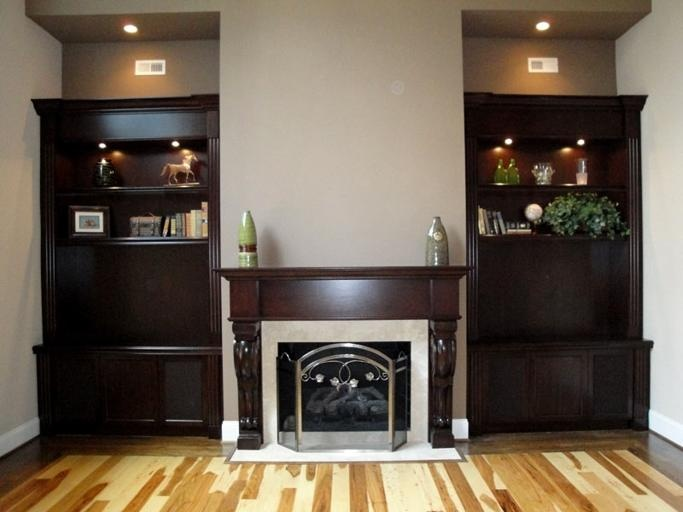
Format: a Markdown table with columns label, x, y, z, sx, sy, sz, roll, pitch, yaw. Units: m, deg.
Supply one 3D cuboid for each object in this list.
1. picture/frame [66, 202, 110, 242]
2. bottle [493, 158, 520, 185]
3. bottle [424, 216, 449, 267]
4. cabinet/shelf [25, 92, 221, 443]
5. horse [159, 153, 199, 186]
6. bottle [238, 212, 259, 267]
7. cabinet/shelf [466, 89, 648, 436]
| label | x | y | z | sx | sy | sz | roll | pitch | yaw |
| --- | --- | --- | --- | --- | --- | --- | --- | --- | --- |
| picture/frame | -2.496 | -0.344 | 6.187 | 0.327 | 0.327 | 0.035 | 0 | -25 | -24 |
| bottle | 1.619 | -0.840 | 6.244 | 0.295 | 0.399 | 0.156 | 0 | -3 | 7 |
| bottle | 0.854 | -0.140 | 5.702 | 0.207 | 0.340 | 0.335 | -1 | 1 | 10 |
| cabinet/shelf | -2.044 | 0.103 | 6.163 | 1.771 | 3.330 | 0.591 | -2 | 1 | 3 |
| horse | -1.642 | -0.879 | 6.316 | 0.395 | 0.275 | 0.085 | -12 | 18 | -37 |
| bottle | -0.856 | -0.155 | 5.652 | 0.163 | 0.466 | 0.232 | -2 | 1 | -10 |
| cabinet/shelf | 2.051 | 0.049 | 6.173 | 1.822 | 2.261 | 0.514 | -2 | 1 | -3 |
